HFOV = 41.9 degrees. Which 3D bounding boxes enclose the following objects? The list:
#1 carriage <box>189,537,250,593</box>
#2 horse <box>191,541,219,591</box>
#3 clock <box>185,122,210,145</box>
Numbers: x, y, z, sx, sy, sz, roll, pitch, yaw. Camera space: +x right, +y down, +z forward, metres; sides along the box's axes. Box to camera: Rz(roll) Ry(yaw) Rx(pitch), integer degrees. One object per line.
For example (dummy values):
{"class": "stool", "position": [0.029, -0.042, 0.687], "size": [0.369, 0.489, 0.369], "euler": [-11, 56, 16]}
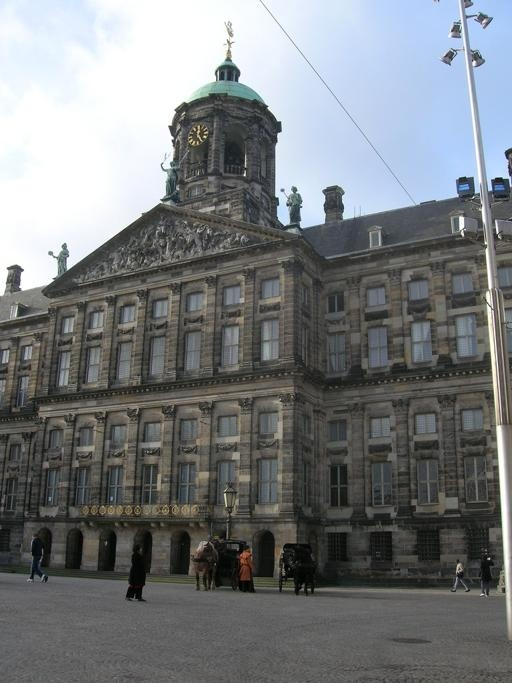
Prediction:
{"class": "carriage", "position": [-1.436, 9.420, 28.546], "size": [1.106, 1.808, 3.779], "euler": [-4, -20, 34]}
{"class": "horse", "position": [-2.075, 9.199, 27.490], "size": [0.937, 1.846, 3.556], "euler": [3, -18, 10]}
{"class": "clock", "position": [-4.716, -17.115, 54.912], "size": [2.059, 1.994, 0.228], "euler": [-21, -14, 31]}
